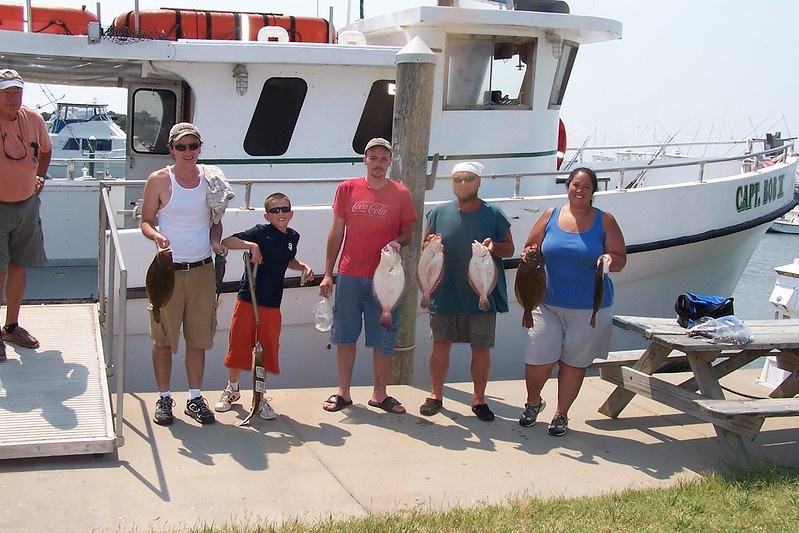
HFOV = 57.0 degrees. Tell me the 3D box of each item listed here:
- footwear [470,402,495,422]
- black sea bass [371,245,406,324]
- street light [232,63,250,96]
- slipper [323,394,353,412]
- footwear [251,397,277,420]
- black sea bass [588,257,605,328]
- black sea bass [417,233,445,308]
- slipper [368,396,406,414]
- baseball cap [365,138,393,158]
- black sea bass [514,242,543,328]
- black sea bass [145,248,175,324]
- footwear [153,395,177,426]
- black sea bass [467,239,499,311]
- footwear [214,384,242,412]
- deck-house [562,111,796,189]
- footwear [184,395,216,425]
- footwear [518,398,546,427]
[{"bbox_3d":[0.767,1.322,6.708,0.108,0.087,0.214,-5,5,-26],"label":"footwear"},{"bbox_3d":[-0.095,0.163,6.416,0.258,0.709,0.084,2,13,-3],"label":"black sea bass"},{"bbox_3d":[-1.885,-2.252,8.773,0.162,0.381,0.076,-1,14,-13],"label":"street light"},{"bbox_3d":[-0.586,1.253,6.742,0.122,0.087,0.240,0,-4,37],"label":"slipper"},{"bbox_3d":[-1.183,1.258,6.521,0.098,0.111,0.275,-5,12,-32],"label":"footwear"},{"bbox_3d":[1.654,0.222,6.169,0.103,0.600,0.141,12,13,23],"label":"black sea bass"},{"bbox_3d":[0.267,0.032,6.479,0.212,0.617,0.265,6,14,12],"label":"black sea bass"},{"bbox_3d":[-0.100,1.274,6.783,0.300,0.112,0.132,6,12,33],"label":"slipper"},{"bbox_3d":[-0.188,-1.086,6.611,0.220,0.306,0.158,4,57,-2],"label":"baseball cap"},{"bbox_3d":[1.092,0.147,6.247,0.184,0.767,0.195,1,1,2],"label":"black sea bass"},{"bbox_3d":[-1.947,0.137,6.031,0.191,0.668,0.184,4,1,-25],"label":"black sea bass"},{"bbox_3d":[-2.007,1.244,6.297,0.117,0.149,0.321,2,0,-15],"label":"footwear"},{"bbox_3d":[0.717,0.091,6.434,0.249,0.631,0.169,4,13,6],"label":"black sea bass"},{"bbox_3d":[-1.534,1.170,6.672,0.110,0.146,0.336,14,23,13],"label":"footwear"},{"bbox_3d":[4.172,-1.452,10.583,3.207,1.324,2.540,-3,12,1],"label":"deck-house"},{"bbox_3d":[-1.727,1.245,6.398,0.146,0.139,0.321,-7,11,-41],"label":"footwear"},{"bbox_3d":[1.181,1.315,6.698,0.129,0.133,0.302,2,48,50],"label":"footwear"}]
